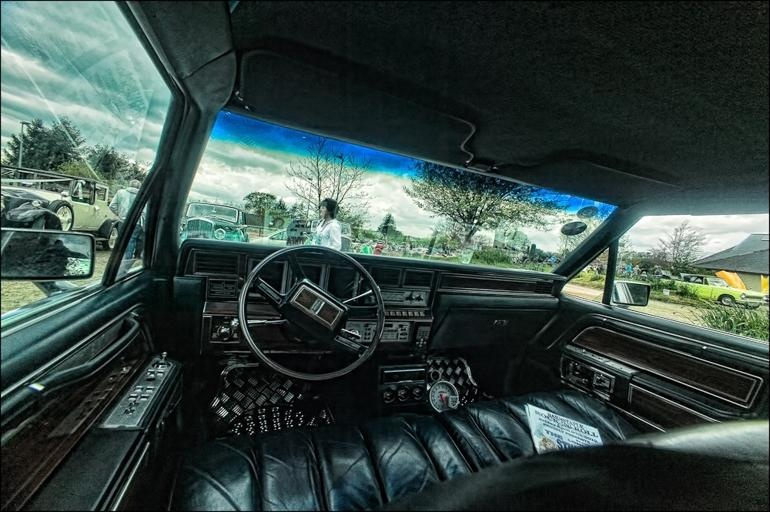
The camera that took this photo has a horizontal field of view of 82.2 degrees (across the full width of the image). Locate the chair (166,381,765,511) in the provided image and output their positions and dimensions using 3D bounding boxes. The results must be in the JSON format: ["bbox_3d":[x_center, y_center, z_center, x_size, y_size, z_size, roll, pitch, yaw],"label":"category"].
[{"bbox_3d":[0.147,0.852,1.817,1.685,0.347,0.789,6,-2,-12],"label":"chair"}]
